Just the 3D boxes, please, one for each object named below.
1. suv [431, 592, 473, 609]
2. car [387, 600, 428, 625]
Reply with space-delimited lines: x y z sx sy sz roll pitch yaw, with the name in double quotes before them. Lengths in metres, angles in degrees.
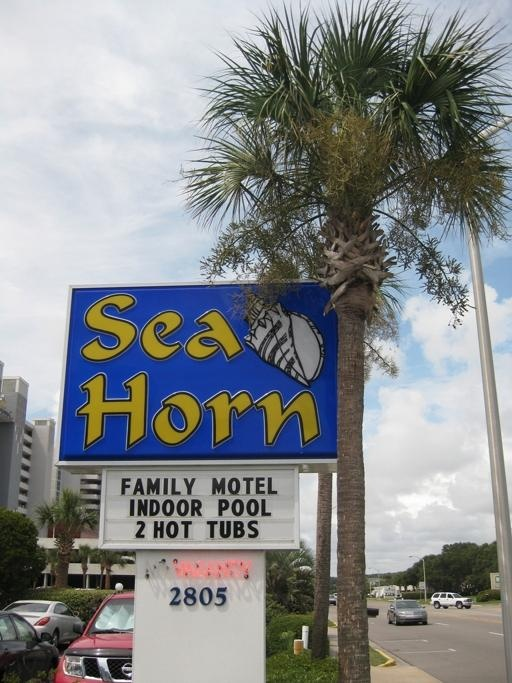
"suv" 17.603 23.830 56.566 2.252 1.409 5.975 -1 -18 1
"car" 8.724 15.889 36.498 1.335 0.944 2.887 -1 -28 -1
